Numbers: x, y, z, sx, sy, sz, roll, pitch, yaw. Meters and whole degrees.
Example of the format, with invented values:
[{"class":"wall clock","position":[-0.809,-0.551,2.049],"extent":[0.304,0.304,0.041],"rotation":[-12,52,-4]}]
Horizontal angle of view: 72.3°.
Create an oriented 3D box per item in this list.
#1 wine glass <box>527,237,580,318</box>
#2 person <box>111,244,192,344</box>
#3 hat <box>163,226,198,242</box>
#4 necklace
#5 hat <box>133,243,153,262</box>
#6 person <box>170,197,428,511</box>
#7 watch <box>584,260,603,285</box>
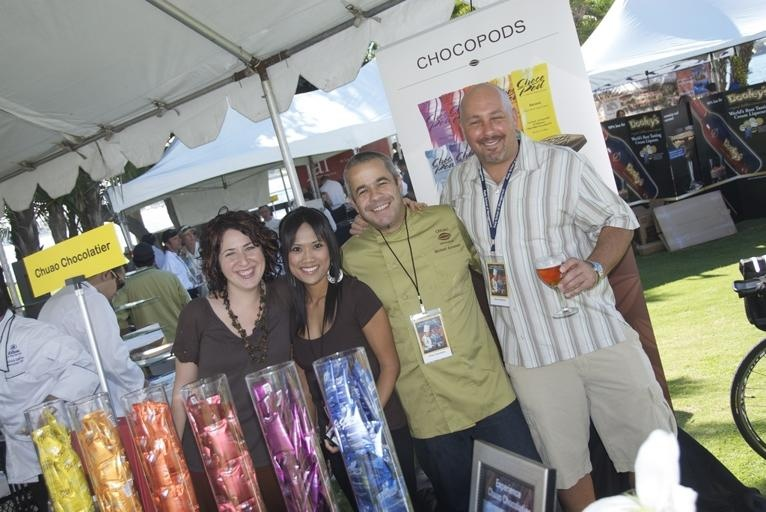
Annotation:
[{"class":"wine glass","position":[0.951,0.145,2.909],"extent":[0.191,0.418,0.374],"rotation":[-12,2,18]},{"class":"person","position":[-2.953,0.812,6.736],"extent":[0.898,2.229,0.700],"rotation":[-2,37,-22]},{"class":"hat","position":[-3.062,-0.315,7.740],"extent":[0.419,0.165,0.308],"rotation":[-14,-7,14]},{"class":"necklace","position":[-0.714,0.413,2.868],"extent":[0.165,0.501,0.073],"rotation":[-9,-13,-22]},{"class":"hat","position":[-2.760,-0.039,6.035],"extent":[0.209,0.236,0.301],"rotation":[-15,2,-26]},{"class":"person","position":[-0.801,0.401,2.838],"extent":[0.723,1.635,0.415],"rotation":[-14,2,-19]},{"class":"watch","position":[1.161,0.083,2.843],"extent":[0.042,0.122,0.113],"rotation":[-27,-32,29]}]
